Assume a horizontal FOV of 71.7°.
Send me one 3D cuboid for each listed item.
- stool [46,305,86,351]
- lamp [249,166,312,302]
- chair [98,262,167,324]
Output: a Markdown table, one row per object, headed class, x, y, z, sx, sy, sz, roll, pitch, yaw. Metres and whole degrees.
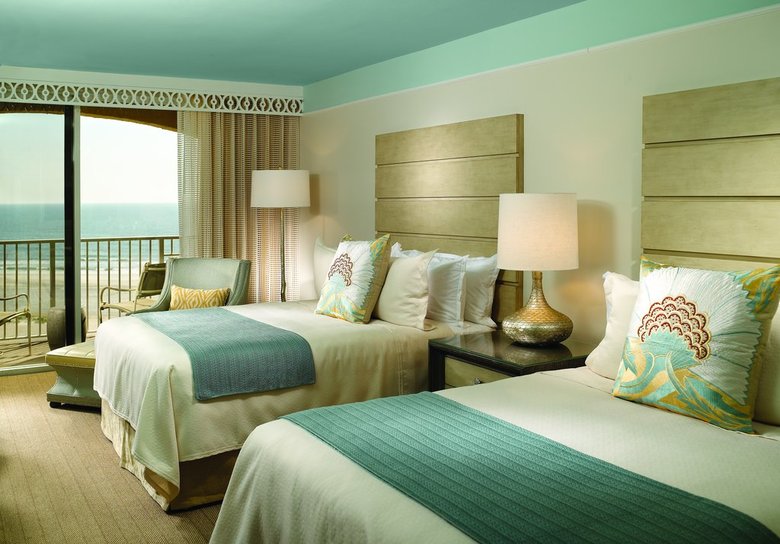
| class | x | y | z | sx | sy | sz | roll | pitch | yaw |
| --- | --- | --- | --- | --- | --- | --- | --- | --- | --- |
| stool | -3.359 | 0.612 | 5.593 | 0.302 | 0.449 | 0.327 | 5 | 5 | 31 |
| lamp | -1.176 | -0.390 | 6.002 | 0.639 | 1.479 | 0.608 | -7 | 15 | -15 |
| chair | -2.875 | 0.299 | 5.863 | 0.537 | 0.730 | 0.450 | -2 | 2 | -31 |
